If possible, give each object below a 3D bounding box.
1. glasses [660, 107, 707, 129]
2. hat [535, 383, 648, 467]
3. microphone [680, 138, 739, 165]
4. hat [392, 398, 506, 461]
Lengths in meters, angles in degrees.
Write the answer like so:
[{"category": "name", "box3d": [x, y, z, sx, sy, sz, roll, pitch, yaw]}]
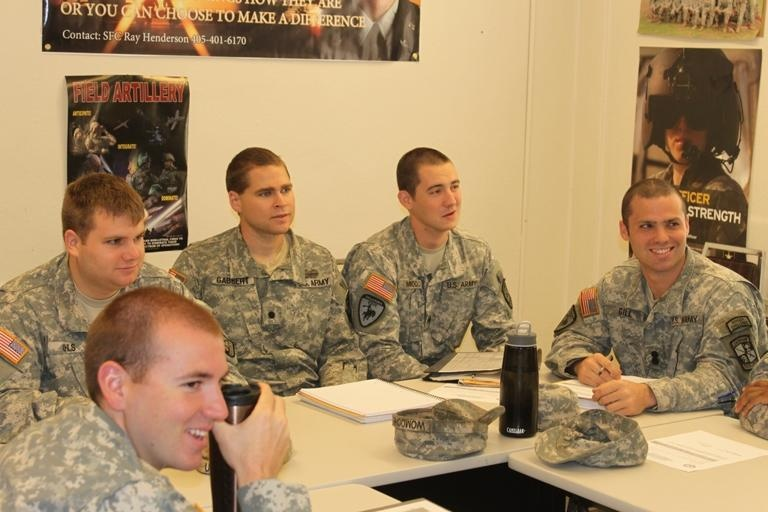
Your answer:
[{"category": "glasses", "box3d": [1.755, -0.803, 4.010, 0.156, 0.053, 0.159, 6, -6, 41]}, {"category": "hat", "box3d": [0.643, 0.542, 2.151, 0.223, 0.093, 0.212, 2, 15, -10]}, {"category": "microphone", "box3d": [1.843, -0.581, 3.886, 0.185, 0.060, 0.127, 11, 5, -10]}, {"category": "hat", "box3d": [0.198, 0.548, 2.144, 0.257, 0.100, 0.190, -2, 0, -24]}]
